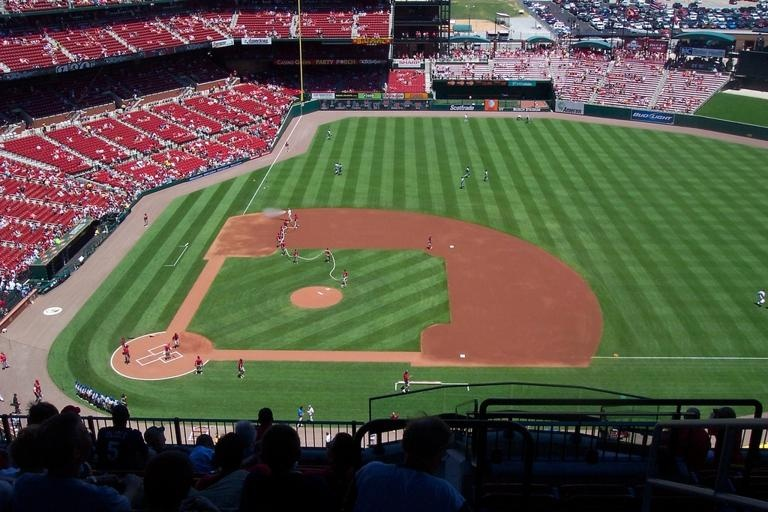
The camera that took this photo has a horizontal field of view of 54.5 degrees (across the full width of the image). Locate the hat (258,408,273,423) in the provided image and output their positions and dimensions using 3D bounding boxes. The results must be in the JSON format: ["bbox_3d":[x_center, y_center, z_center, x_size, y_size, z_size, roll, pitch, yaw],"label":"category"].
[{"bbox_3d":[-3.804,5.133,23.982,0.389,0.511,0.452,0,8,-5],"label":"hat"}]
